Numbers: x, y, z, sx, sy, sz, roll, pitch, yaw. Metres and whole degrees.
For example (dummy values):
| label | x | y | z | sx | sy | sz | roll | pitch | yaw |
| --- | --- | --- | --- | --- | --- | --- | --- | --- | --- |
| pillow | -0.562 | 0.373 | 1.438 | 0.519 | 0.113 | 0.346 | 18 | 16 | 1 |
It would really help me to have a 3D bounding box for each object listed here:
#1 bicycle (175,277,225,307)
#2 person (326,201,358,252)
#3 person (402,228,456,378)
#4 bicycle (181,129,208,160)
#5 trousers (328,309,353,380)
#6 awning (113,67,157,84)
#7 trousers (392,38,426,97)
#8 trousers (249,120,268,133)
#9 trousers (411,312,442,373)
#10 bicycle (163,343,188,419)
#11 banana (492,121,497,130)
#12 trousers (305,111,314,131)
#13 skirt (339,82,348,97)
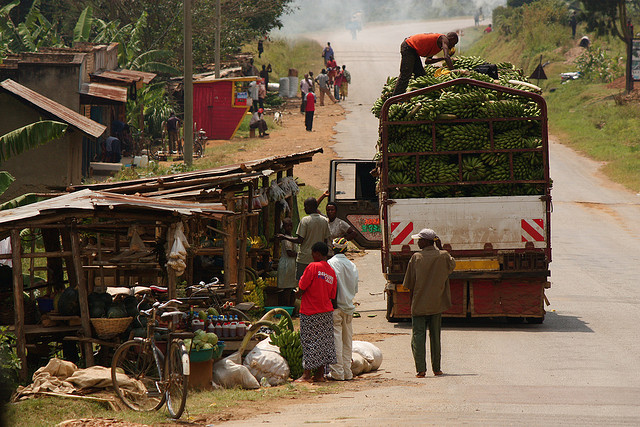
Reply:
| label | x | y | z | sx | sy | sz | roll | pitch | yaw |
| --- | --- | --- | --- | --- | --- | --- | --- | --- | --- |
| bicycle | -3.160 | 2.161 | 34.708 | 1.017 | 0.672 | 0.646 | -8 | 0 | -4 |
| person | 0.606 | 0.350 | 37.795 | 0.945 | 1.889 | 0.705 | -16 | -21 | 37 |
| person | 2.848 | 2.382 | 33.909 | 1.186 | 3.842 | 0.663 | -1 | 5 | -1 |
| bicycle | -5.072 | -2.762 | 52.990 | 0.839 | 1.084 | 1.597 | -2 | 2 | -44 |
| trousers | 0.586 | 3.546 | 34.318 | 0.754 | 1.729 | 0.748 | 0 | -1 | -20 |
| awning | -7.690 | -5.691 | 52.706 | 1.573 | 0.671 | 2.771 | -2 | 5 | -10 |
| trousers | 2.604 | -4.316 | 38.009 | 0.741 | 2.203 | 1.410 | 2 | 0 | -8 |
| trousers | -2.760 | -3.903 | 56.938 | 0.563 | 0.325 | 0.497 | 13 | 18 | 14 |
| trousers | 2.815 | 3.439 | 33.920 | 0.778 | 1.597 | 0.477 | -1 | 5 | 0 |
| bicycle | -3.716 | 4.263 | 32.643 | 0.494 | 1.839 | 0.982 | -3 | 5 | -18 |
| banana | 4.939 | -2.506 | 36.344 | 0.222 | 0.222 | 0.062 | -1 | 4 | -3 |
| trousers | -0.501 | -4.132 | 57.577 | 0.285 | 0.873 | 0.781 | -1 | 5 | -4 |
| skirt | 1.164 | -6.482 | 67.253 | 0.473 | 0.895 | 0.703 | 6 | 8 | 39 |
